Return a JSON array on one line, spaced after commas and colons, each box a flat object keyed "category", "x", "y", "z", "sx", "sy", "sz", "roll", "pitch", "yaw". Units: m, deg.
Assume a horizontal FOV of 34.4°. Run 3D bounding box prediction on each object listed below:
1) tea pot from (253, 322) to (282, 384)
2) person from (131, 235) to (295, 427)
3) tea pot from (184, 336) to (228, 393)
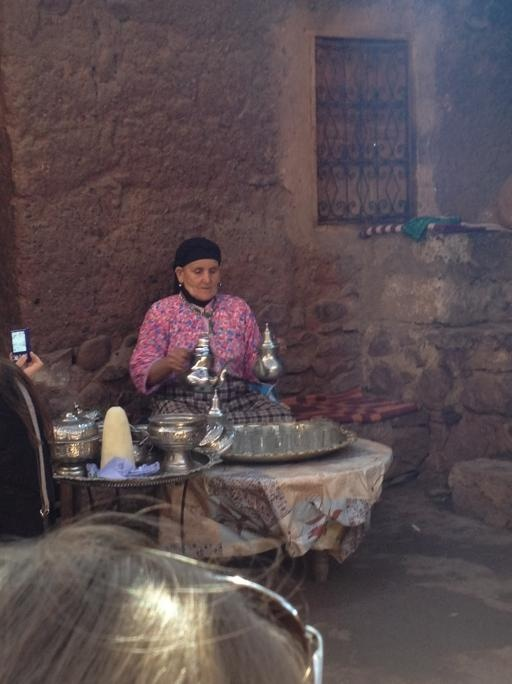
[{"category": "tea pot", "x": 0.057, "y": 0.048, "z": 3.208, "sx": 0.116, "sy": 0.227, "sz": 0.120, "roll": -4, "pitch": 10, "yaw": 1}, {"category": "person", "x": -0.202, "y": -0.024, "z": 3.453, "sx": 0.659, "sy": 0.793, "sz": 0.547, "roll": -5, "pitch": 15, "yaw": -33}, {"category": "tea pot", "x": -0.173, "y": 0.082, "z": 2.879, "sx": 0.173, "sy": 0.169, "sz": 0.132, "roll": 12, "pitch": 15, "yaw": 32}]
